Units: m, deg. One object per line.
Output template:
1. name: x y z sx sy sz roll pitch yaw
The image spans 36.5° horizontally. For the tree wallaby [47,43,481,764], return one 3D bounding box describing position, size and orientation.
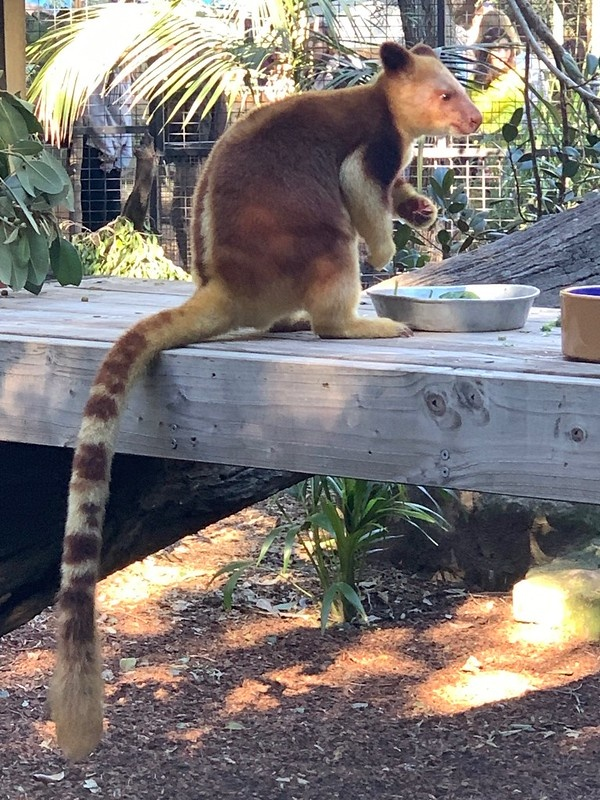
1. tree wallaby: -0.108 -0.154 1.911 0.468 1.358 1.242 5 10 45
